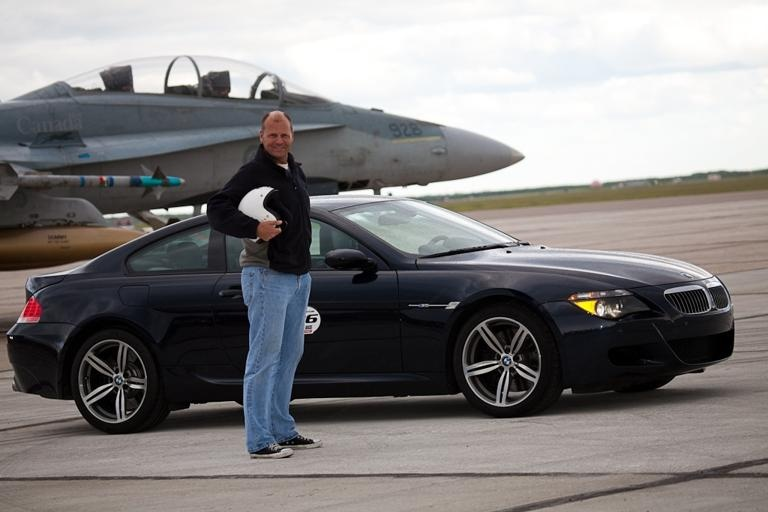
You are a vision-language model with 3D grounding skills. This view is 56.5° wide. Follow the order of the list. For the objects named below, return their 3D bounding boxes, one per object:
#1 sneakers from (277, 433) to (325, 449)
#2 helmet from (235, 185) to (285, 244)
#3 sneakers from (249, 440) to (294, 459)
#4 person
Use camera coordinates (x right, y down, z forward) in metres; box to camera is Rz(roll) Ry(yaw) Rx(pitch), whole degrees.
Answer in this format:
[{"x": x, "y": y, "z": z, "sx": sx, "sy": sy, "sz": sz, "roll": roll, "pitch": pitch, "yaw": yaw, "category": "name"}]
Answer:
[{"x": -0.654, "y": 1.476, "z": 5.707, "sx": 0.359, "sy": 0.118, "sz": 0.119, "roll": -2, "pitch": -2, "yaw": 2, "category": "sneakers"}, {"x": -0.975, "y": -0.382, "z": 5.580, "sx": 0.452, "sy": 0.320, "sz": 0.309, "roll": 0, "pitch": 0, "yaw": -4, "category": "helmet"}, {"x": -0.852, "y": 1.475, "z": 5.470, "sx": 0.327, "sy": 0.106, "sz": 0.120, "roll": -2, "pitch": 2, "yaw": 5, "category": "sneakers"}, {"x": -0.915, "y": 0.206, "z": 5.587, "sx": 0.800, "sy": 2.655, "sz": 0.517, "roll": -4, "pitch": 4, "yaw": -14, "category": "person"}]
